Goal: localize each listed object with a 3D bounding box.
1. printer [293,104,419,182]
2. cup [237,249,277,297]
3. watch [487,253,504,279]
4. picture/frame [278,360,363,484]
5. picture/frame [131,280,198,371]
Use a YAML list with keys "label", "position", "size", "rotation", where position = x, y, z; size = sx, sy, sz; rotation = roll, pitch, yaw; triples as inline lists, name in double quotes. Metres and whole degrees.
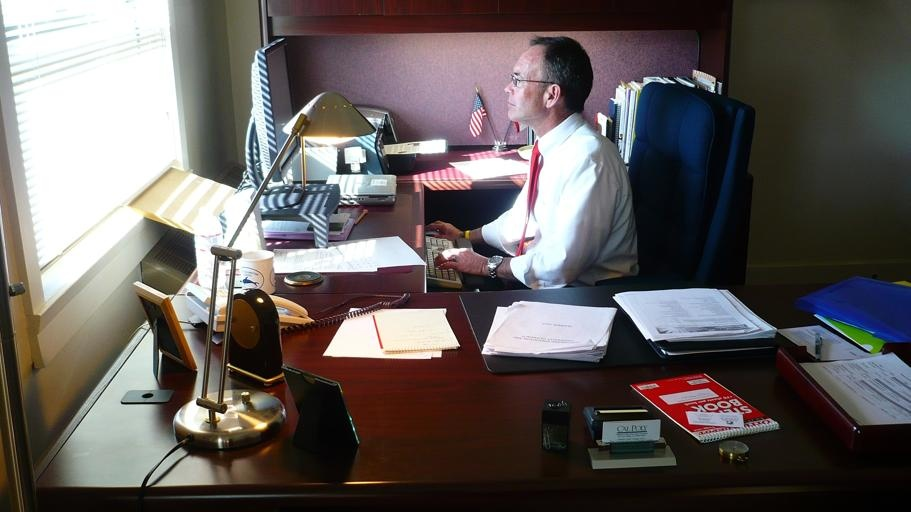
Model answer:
- label: "printer"
  position: [-0.496, -0.537, 3.308]
  size: [0.494, 0.155, 0.491]
  rotation: [0, 26, -2]
- label: "cup"
  position: [-0.654, 0.044, 2.182]
  size: [0.153, 0.147, 0.146]
  rotation: [1, 17, 0]
- label: "watch"
  position: [0.171, 0.049, 2.919]
  size: [0.065, 0.090, 0.099]
  rotation: [4, 42, 27]
- label: "picture/frame"
  position: [-0.365, 0.451, 1.689]
  size: [0.200, 0.251, 0.151]
  rotation: [15, 29, 22]
- label: "picture/frame"
  position: [-0.926, 0.225, 2.024]
  size: [0.082, 0.207, 0.230]
  rotation: [-22, 30, -38]
